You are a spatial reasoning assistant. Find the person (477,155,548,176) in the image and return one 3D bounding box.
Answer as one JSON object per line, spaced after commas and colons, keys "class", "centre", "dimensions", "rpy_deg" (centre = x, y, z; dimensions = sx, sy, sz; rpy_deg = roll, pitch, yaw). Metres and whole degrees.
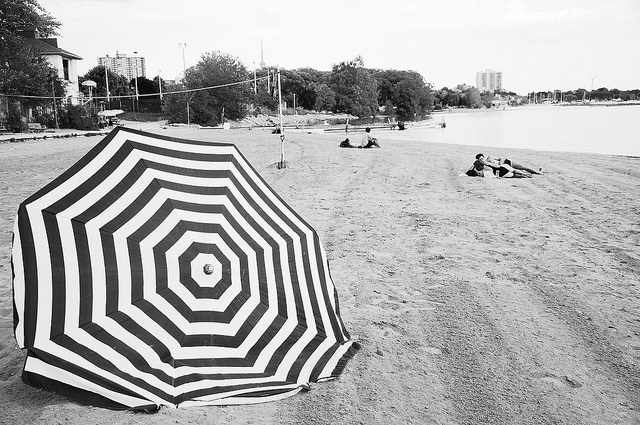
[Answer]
{"class": "person", "centre": [5.961, -1.549, 16.721], "dimensions": [1.644, 0.554, 1.111], "rpy_deg": [8, 1, 3]}
